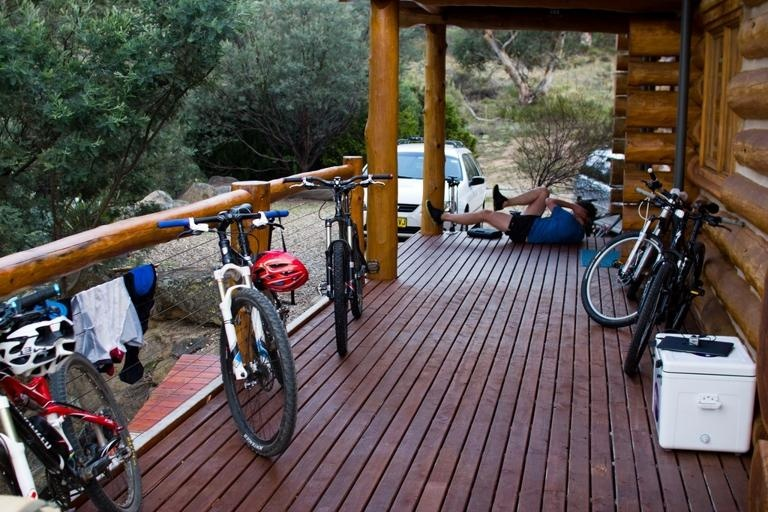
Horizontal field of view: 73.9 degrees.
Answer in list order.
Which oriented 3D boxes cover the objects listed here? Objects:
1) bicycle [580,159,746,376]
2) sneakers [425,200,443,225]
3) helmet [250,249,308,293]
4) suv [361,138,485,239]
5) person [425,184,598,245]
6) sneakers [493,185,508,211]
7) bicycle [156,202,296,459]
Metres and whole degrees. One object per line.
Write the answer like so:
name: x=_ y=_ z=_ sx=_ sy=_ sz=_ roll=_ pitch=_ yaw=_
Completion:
bicycle: x=2.802 y=0.037 z=5.370 sx=1.198 sy=1.633 sz=2.640 roll=4 pitch=22 yaw=23
sneakers: x=0.911 y=-0.750 z=8.967 sx=0.206 sy=0.518 sz=0.184 roll=-12 pitch=4 yaw=30
helmet: x=-0.763 y=0.159 z=3.727 sx=0.359 sy=0.207 sz=0.276 roll=10 pitch=40 yaw=13
suv: x=1.247 y=-1.661 z=12.003 sx=1.990 sy=1.520 sz=2.977 roll=0 pitch=9 yaw=17
person: x=2.112 y=-0.727 z=9.068 sx=2.826 sy=1.127 sz=0.974 roll=8 pitch=-1 yaw=13
sneakers: x=2.077 y=-1.146 z=9.130 sx=0.276 sy=0.716 sz=0.231 roll=0 pitch=-9 yaw=10
bicycle: x=-0.970 y=0.542 z=3.563 sx=0.720 sy=1.669 sz=1.165 roll=-13 pitch=22 yaw=-23
